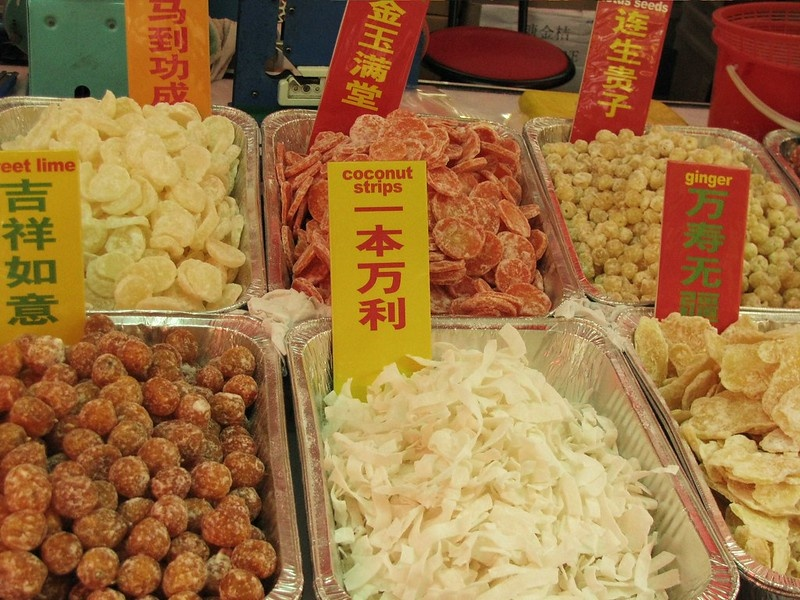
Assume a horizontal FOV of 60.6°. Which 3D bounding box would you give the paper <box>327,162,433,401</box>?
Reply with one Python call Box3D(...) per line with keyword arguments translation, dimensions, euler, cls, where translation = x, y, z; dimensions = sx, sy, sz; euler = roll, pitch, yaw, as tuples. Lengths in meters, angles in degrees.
Box3D(translation=(-0.055, -0.078, 1.949), dimensions=(0.257, 0.715, 0.013), euler=(-4, 35, -5), cls="paper")
